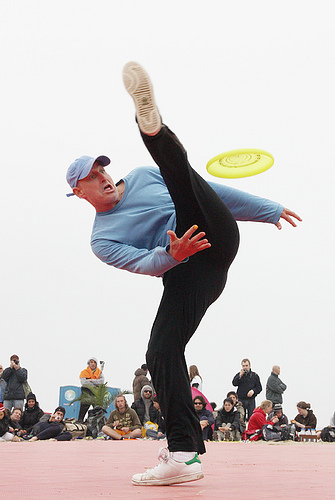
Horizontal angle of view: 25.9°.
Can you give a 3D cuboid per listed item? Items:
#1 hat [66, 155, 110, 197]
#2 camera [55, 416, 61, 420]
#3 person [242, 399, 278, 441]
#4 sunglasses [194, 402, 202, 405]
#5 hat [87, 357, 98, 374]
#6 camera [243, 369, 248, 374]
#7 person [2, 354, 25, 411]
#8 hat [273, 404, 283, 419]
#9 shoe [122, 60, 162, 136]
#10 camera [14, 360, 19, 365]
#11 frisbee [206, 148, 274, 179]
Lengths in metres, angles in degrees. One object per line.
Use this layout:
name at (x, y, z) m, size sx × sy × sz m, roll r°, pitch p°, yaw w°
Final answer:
hat at (-0.516, -0.495, 4.730) m, size 0.262 × 0.143 × 0.186 m, roll -45°, pitch 4°, yaw 35°
camera at (-1.539, 2.330, 10.199) m, size 0.060 × 0.018 × 0.069 m, roll -1°, pitch -4°, yaw -4°
person at (1.261, 2.402, 10.233) m, size 0.589 × 0.315 × 0.857 m, roll 7°, pitch 18°, yaw 9°
sunglasses at (0.385, 2.009, 9.615) m, size 0.037 × 0.035 × 0.102 m, roll 12°, pitch -14°, yaw -41°
hat at (-1.283, 1.938, 12.410) m, size 0.160 × 0.256 × 0.274 m, roll 4°, pitch -11°, yaw -9°
camera at (1.181, 1.846, 11.183) m, size 0.058 × 0.049 × 0.064 m, roll -3°, pitch 5°, yaw -4°
person at (-2.243, 1.939, 10.683) m, size 0.340 × 0.774 × 0.491 m, roll 3°, pitch -12°, yaw -1°
hat at (1.592, 2.348, 10.682) m, size 0.134 × 0.199 × 0.271 m, roll 0°, pitch -11°, yaw 8°
shoe at (-0.145, -0.874, 4.294) m, size 0.207 × 0.426 × 0.195 m, roll -18°, pitch 2°, yaw -4°
camera at (-2.259, 1.664, 10.906) m, size 0.069 × 0.069 × 0.029 m, roll 5°, pitch 1°, yaw 3°
frisbee at (0.499, -0.609, 5.188) m, size 0.464 × 0.169 × 0.384 m, roll 1°, pitch -10°, yaw 1°
